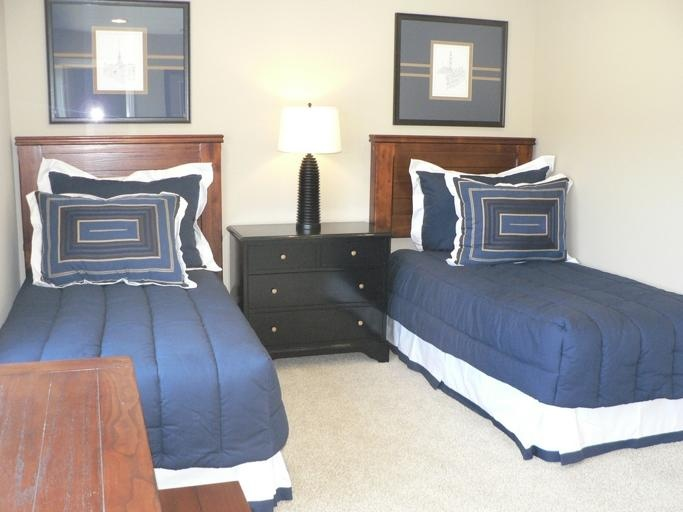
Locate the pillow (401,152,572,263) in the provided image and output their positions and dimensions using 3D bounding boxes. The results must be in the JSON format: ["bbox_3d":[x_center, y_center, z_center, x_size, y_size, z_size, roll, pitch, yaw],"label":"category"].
[{"bbox_3d":[0.905,-0.285,3.477,0.701,0.501,0.185,4,7,-11],"label":"pillow"}]

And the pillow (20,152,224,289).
[{"bbox_3d":[-1.186,-0.224,3.135,0.910,0.661,0.426,-4,13,-12],"label":"pillow"}]

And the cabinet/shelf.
[{"bbox_3d":[-0.190,0.137,3.659,1.206,1.066,0.701,-2,9,-16],"label":"cabinet/shelf"}]

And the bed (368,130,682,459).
[{"bbox_3d":[0.847,-0.018,3.570,1.305,1.224,1.811,-5,18,-17],"label":"bed"}]

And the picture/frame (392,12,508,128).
[{"bbox_3d":[0.761,-1.287,3.870,0.794,0.713,0.033,11,34,25],"label":"picture/frame"}]
